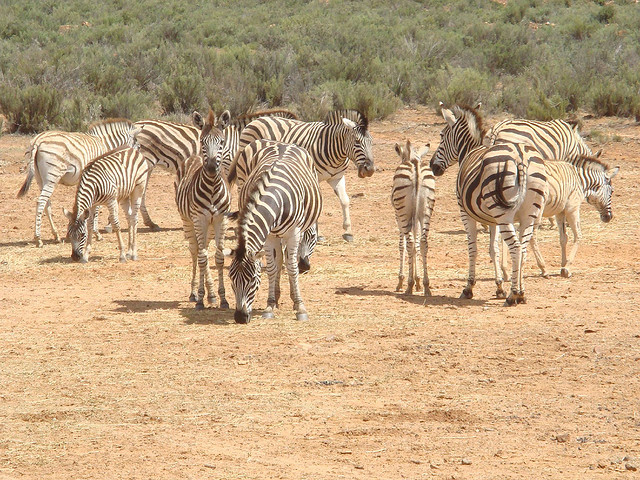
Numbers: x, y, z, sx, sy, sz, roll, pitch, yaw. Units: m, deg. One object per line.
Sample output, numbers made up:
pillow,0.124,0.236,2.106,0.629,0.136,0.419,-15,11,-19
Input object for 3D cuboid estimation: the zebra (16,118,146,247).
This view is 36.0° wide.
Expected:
zebra,-4.785,-1.248,19.930,0.906,2.508,3.384,1,5,30

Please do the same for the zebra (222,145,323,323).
zebra,-0.602,-0.128,14.676,1.100,2.324,3.657,-1,16,12

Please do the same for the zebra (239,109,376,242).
zebra,-0.315,-1.390,18.911,0.921,2.735,3.948,-18,23,-38

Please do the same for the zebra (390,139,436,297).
zebra,1.489,-0.384,15.773,0.677,2.411,1.251,1,14,5

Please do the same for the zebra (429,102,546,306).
zebra,2.878,-0.706,16.389,1.714,2.994,3.941,-1,14,-5

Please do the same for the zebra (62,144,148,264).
zebra,-3.902,-0.595,18.028,0.753,2.034,2.718,5,16,15

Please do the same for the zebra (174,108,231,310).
zebra,-1.730,-0.502,14.817,0.702,3.008,1.334,-5,14,-18
